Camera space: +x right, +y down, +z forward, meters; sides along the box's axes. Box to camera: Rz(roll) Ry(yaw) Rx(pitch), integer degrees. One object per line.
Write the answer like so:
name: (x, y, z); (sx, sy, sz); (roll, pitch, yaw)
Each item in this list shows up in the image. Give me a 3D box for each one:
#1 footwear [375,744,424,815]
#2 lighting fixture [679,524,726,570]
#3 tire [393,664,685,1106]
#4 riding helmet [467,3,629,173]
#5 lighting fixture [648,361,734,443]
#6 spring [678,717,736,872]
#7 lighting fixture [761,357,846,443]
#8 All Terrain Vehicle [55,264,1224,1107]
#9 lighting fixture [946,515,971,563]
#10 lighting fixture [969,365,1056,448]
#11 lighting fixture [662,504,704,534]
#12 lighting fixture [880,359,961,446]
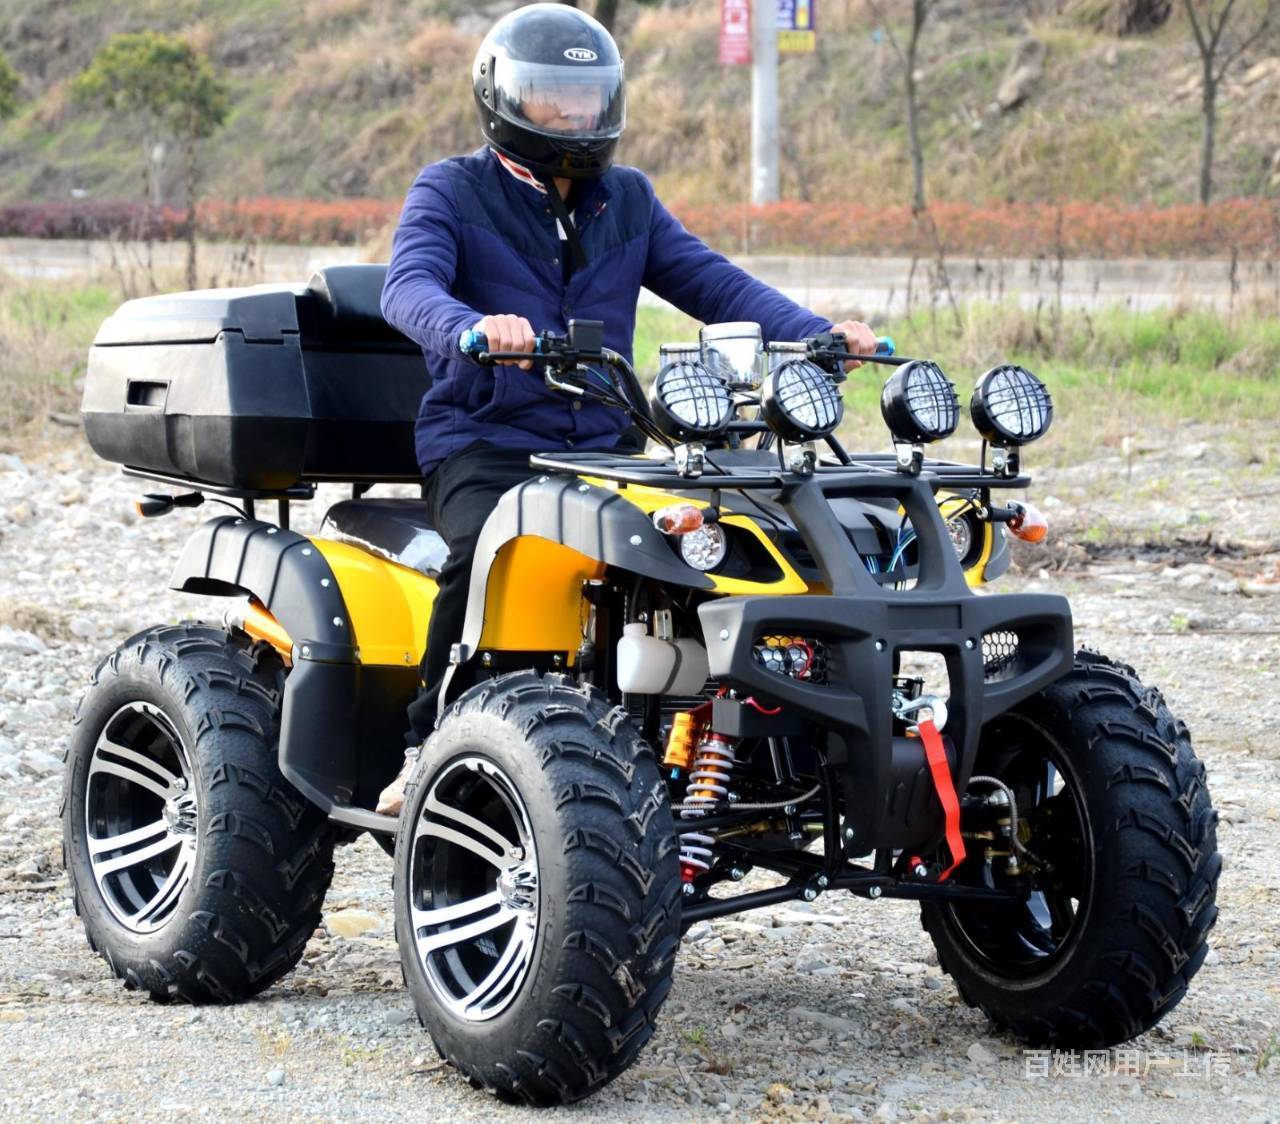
footwear: (-0.650, 0.592, 5.283); (0.070, 0.056, 0.247); (-16, 37, 35)
lighting fixture: (0.152, -0.031, 4.680); (0.119, 0.117, 0.036); (-4, 8, -31)
tire: (-0.282, 0.820, 4.860); (0.309, 1.051, 0.945); (2, 2, -36)
riding helmet: (-0.303, -1.347, 5.555); (0.369, 0.406, 0.481); (-10, 27, -30)
lighting fixture: (0.125, -0.378, 4.634); (0.183, 0.182, 0.059); (14, -26, -42)
spring: (0.169, 0.584, 4.916); (0.131, 0.362, 0.156); (0, 6, 22)
lighting fixture: (0.391, -0.383, 4.727); (0.184, 0.213, 0.124); (5, -31, -25)
All Terrain Vehicle: (-0.044, 0.348, 5.687); (1.966, 2.095, 2.956); (1, 1, -39)
lighting fixture: (0.824, -0.062, 5.052); (0.095, 0.120, 0.115); (0, -3, 5)
lighting fixture: (0.962, -0.386, 5.030); (0.192, 0.217, 0.123); (-2, -28, -14)
lighting fixture: (0.096, -0.099, 4.579); (0.078, 0.043, 0.060); (-2, 2, 35)
lighting fixture: (0.707, -0.397, 4.949); (0.198, 0.209, 0.177); (-1, 7, -10)
